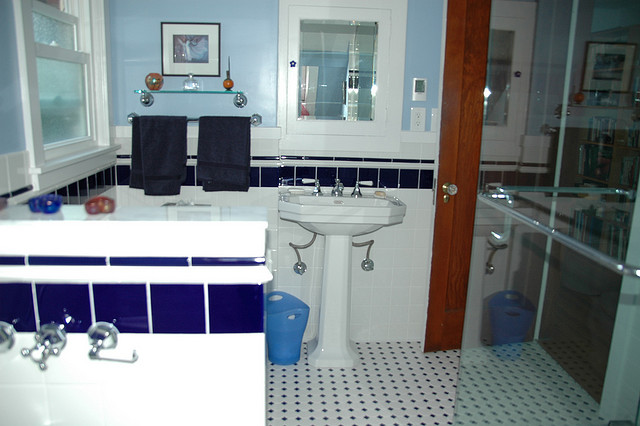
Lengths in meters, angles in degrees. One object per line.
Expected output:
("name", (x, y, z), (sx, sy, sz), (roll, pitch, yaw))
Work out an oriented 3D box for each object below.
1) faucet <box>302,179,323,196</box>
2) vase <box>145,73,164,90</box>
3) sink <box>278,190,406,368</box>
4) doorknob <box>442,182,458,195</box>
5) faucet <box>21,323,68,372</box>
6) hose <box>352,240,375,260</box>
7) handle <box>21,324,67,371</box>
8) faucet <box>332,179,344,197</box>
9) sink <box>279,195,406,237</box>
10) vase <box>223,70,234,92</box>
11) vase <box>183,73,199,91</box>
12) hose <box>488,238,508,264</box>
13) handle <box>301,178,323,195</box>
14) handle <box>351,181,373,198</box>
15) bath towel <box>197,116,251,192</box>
("faucet", (-0.050, -0.170, 3.283), (0.135, 0.102, 0.098), (1, 8, -2))
("vase", (-1.064, -0.843, 3.099), (0.106, 0.101, 0.107), (9, 23, 12))
("sink", (0.083, 0.377, 3.401), (0.863, 1.137, 0.704), (1, 11, -8))
("doorknob", (0.893, -0.167, 3.313), (0.095, 0.083, 0.057), (5, 15, 22))
("faucet", (-0.957, 0.455, 1.709), (0.128, 0.168, 0.050), (37, 0, -10))
("hose", (0.294, 0.234, 3.374), (0.142, 0.177, 0.139), (-4, 10, -20))
("handle", (-0.959, 0.457, 1.703), (0.132, 0.166, 0.043), (40, -6, -5))
("faucet", (0.123, -0.161, 3.240), (0.122, 0.141, 0.090), (0, 18, 1))
("sink", (0.141, 0.028, 3.137), (0.800, 0.243, 0.356), (-1, 14, -1))
("vase", (-0.602, -0.867, 3.168), (0.071, 0.140, 0.122), (-3, 15, -10))
("vase", (-0.833, -0.864, 3.167), (0.116, 0.124, 0.113), (9, 19, 24))
("hose", (0.799, 0.163, 2.217), (0.082, 0.100, 0.078), (28, 41, 26))
("handle", (-0.044, -0.175, 3.292), (0.150, 0.115, 0.086), (-2, 10, 2))
("handle", (0.308, -0.152, 3.304), (0.144, 0.140, 0.083), (2, 9, 29))
("bath towel", (-0.615, -0.398, 3.120), (0.320, 0.462, 0.131), (6, 14, 3))
